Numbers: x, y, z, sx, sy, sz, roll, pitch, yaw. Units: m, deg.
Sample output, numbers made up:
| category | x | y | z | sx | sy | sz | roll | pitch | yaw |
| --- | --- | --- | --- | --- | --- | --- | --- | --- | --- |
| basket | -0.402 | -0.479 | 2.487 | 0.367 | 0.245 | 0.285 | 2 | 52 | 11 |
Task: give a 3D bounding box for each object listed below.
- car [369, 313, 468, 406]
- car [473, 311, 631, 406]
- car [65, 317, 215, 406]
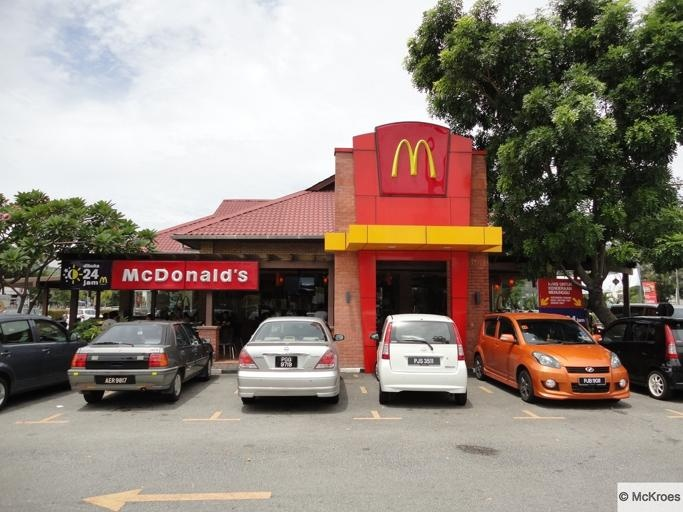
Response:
| category | x | y | z | sx | sy | sz | roll | pitch | yaw |
| --- | --- | --- | --- | --- | --- | --- | --- | --- | --- |
| car | 1.761 | 2.175 | 11.153 | 1.415 | 1.102 | 2.313 | 0 | -3 | 1 |
| car | 4.949 | 2.419 | 13.011 | 2.023 | 1.762 | 3.296 | -1 | 4 | -18 |
| car | -4.668 | 2.460 | 12.518 | 2.037 | 1.902 | 2.779 | 0 | 4 | 7 |
